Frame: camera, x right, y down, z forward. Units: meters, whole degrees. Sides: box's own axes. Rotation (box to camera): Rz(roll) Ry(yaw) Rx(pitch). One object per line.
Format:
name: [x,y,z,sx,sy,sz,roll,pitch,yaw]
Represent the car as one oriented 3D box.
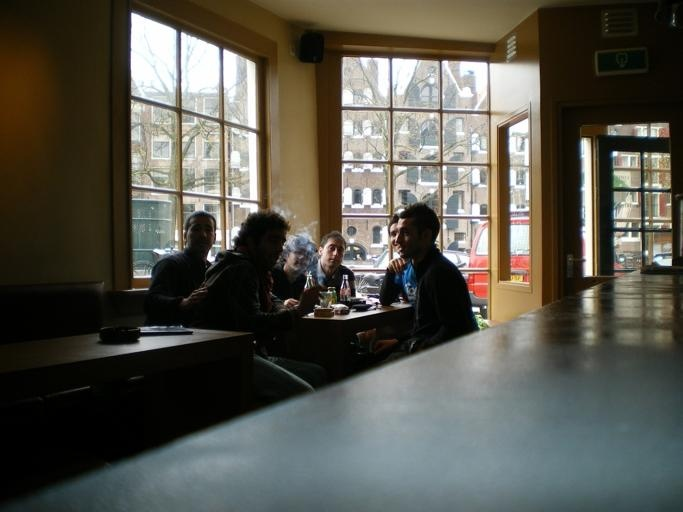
car: [0.810,0.101,4.936,1.531,0.941,0.991,-2,-1,-3]
